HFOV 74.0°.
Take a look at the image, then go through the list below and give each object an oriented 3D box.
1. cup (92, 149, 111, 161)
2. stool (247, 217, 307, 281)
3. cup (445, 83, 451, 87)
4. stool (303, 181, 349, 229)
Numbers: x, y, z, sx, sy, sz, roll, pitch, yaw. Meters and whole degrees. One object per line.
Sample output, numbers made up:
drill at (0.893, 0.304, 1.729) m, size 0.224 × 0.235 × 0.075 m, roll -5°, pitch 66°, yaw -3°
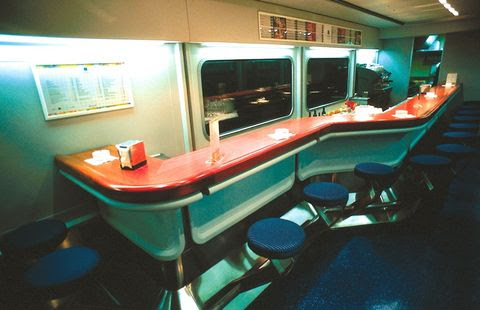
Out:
cup at (-1.637, -0.015, 3.744) m, size 0.174 × 0.096 × 0.149 m, roll -20°, pitch 24°, yaw -35°
stool at (0.360, 0.903, 3.479) m, size 0.630 × 0.387 × 0.591 m, roll -12°, pitch 29°, yaw -19°
cup at (5.138, -1.729, 7.812) m, size 0.137 × 0.058 × 0.266 m, roll 5°, pitch 22°, yaw 30°
stool at (1.106, 0.664, 4.236) m, size 0.713 × 0.479 × 0.669 m, roll -6°, pitch 22°, yaw 1°
